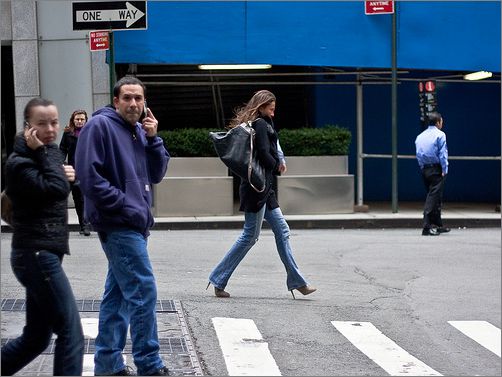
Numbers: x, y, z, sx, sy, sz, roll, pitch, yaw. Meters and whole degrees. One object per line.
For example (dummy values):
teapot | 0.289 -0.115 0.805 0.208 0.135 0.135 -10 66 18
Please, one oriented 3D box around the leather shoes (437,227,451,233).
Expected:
leather shoes | 4.037 0.860 14.828 0.285 0.138 0.095 -4 18 -34

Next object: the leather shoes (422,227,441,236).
leather shoes | 3.745 0.860 14.592 0.416 0.196 0.147 -1 5 -5

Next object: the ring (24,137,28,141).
ring | -1.834 -0.403 5.795 0.011 0.036 0.056 -3 7 -39

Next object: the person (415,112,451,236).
person | 3.641 -0.276 14.285 0.578 2.458 0.659 2 5 3

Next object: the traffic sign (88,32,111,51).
traffic sign | -3.091 -3.025 14.493 0.401 0.385 0.328 1 5 -5

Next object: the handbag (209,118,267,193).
handbag | -0.158 -0.393 8.743 0.612 0.925 0.350 -24 -6 27
